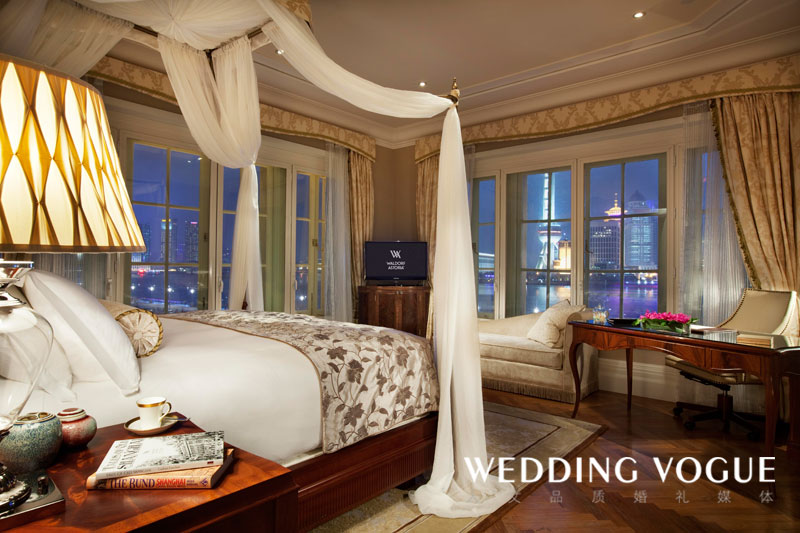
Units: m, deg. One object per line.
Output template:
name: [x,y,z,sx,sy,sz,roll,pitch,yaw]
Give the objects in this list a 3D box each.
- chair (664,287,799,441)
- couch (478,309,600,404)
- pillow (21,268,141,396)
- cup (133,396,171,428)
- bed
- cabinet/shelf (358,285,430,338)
chair: [2.976,0.865,5.363,1.215,1.801,1.077,4,-5,-15]
couch: [1.550,1.017,5.861,1.576,1.040,0.846,-3,-7,42]
pillow: [-1.518,0.323,2.596,0.175,0.618,0.481,-26,-6,-8]
cup: [-1.159,0.669,2.472,0.154,0.118,0.117,0,-2,11]
bed: [-0.824,0.724,3.097,1.482,0.980,1.560,2,1,40]
cabinet/shelf: [-0.049,0.523,6.351,0.601,0.600,0.236,1,-2,-5]
